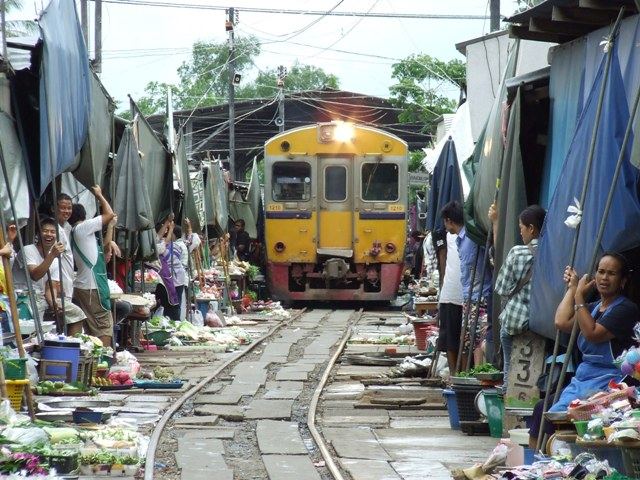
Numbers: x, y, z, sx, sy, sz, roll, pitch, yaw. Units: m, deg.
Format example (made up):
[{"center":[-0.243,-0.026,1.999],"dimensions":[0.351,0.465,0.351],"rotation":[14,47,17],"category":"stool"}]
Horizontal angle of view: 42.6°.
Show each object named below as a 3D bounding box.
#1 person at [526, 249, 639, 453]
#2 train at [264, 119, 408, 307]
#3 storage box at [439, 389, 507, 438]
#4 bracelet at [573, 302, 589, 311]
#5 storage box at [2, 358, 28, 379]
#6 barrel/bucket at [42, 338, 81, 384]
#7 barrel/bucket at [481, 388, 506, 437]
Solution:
[{"center":[1.880,0.787,5.788],"dimensions":[0.701,1.225,0.697],"rotation":[1,-1,15],"category":"person"},{"center":[0.414,-0.532,20.872],"dimensions":[2.205,3.132,4.797],"rotation":[-1,-4,2],"category":"train"},{"center":[1.400,1.602,7.471],"dimensions":[0.394,0.287,0.428],"rotation":[1,-8,-4],"category":"storage box"},{"center":[1.811,0.475,5.687],"dimensions":[0.077,0.040,0.047],"rotation":[0,-2,25],"category":"bracelet"},{"center":[-2.509,1.071,6.759],"dimensions":[0.145,0.154,0.171],"rotation":[1,-8,-15],"category":"storage box"},{"center":[-2.614,1.248,8.454],"dimensions":[0.391,0.746,0.419],"rotation":[0,-3,0],"category":"barrel/bucket"},{"center":[1.537,1.528,7.173],"dimensions":[0.181,0.414,0.425],"rotation":[1,-1,-10],"category":"barrel/bucket"}]
